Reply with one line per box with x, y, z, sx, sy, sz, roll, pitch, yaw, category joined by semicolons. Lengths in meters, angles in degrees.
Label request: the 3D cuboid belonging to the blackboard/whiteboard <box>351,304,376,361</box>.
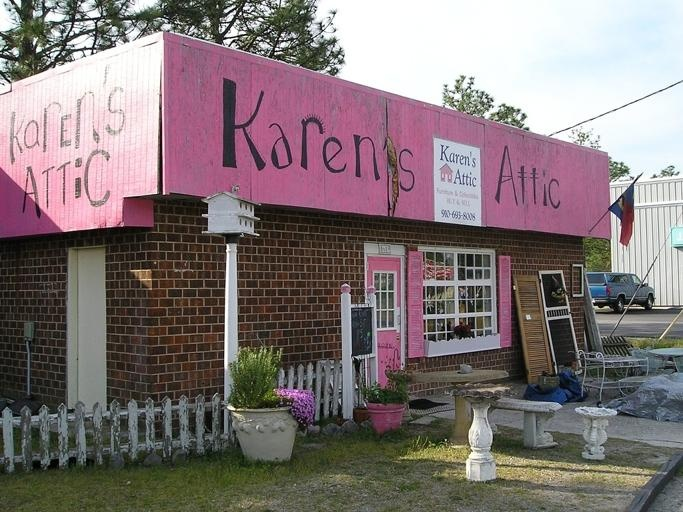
0.341;1.296;12.124;0.063;0.939;0.878;-3;-5;26;blackboard/whiteboard

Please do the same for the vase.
-1.058;2.403;9.793;0.901;0.769;0.327;-1;-7;-8;vase

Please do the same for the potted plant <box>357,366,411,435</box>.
0.723;2.289;11.361;0.711;0.945;0.408;-2;-7;4;potted plant

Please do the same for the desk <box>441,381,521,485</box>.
1.769;2.314;9.714;0.940;1.289;0.993;0;-6;-3;desk

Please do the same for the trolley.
5.768;2.503;15.380;1.306;0.907;4.530;-4;-8;17;trolley

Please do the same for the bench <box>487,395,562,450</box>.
2.829;2.582;10.919;0.583;0.671;1.295;1;-6;30;bench

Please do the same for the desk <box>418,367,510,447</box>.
1.879;2.289;11.595;1.187;0.903;1.237;-5;-10;33;desk

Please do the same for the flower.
-0.979;1.792;10.059;1.061;1.246;0.962;4;-1;-44;flower

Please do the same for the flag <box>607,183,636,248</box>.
6.766;-1.057;17.346;0.605;1.718;2.159;-5;-8;22;flag

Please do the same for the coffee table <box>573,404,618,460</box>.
3.660;2.483;10.422;0.654;0.792;0.665;0;0;0;coffee table
